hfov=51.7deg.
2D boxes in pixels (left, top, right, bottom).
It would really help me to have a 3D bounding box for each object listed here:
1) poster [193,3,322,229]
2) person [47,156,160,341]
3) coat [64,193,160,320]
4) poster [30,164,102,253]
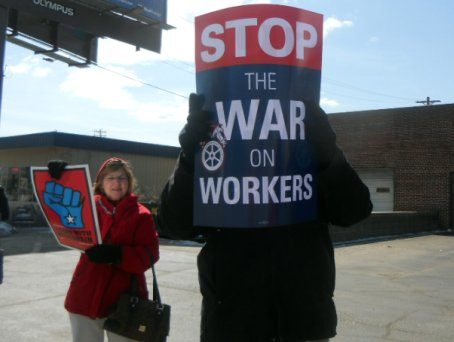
[{"bbox_3d":[0.179,-0.375,2.747,0.588,1.305,0.610,5,0,4],"label":"poster"},{"bbox_3d":[-1.069,0.661,4.051,0.716,1.994,0.711,1,-1,-41],"label":"person"},{"bbox_3d":[-1.004,0.697,4.128,0.790,1.036,0.645,5,-3,28],"label":"coat"},{"bbox_3d":[-1.275,0.309,3.766,0.565,0.750,0.022,5,22,25],"label":"poster"}]
